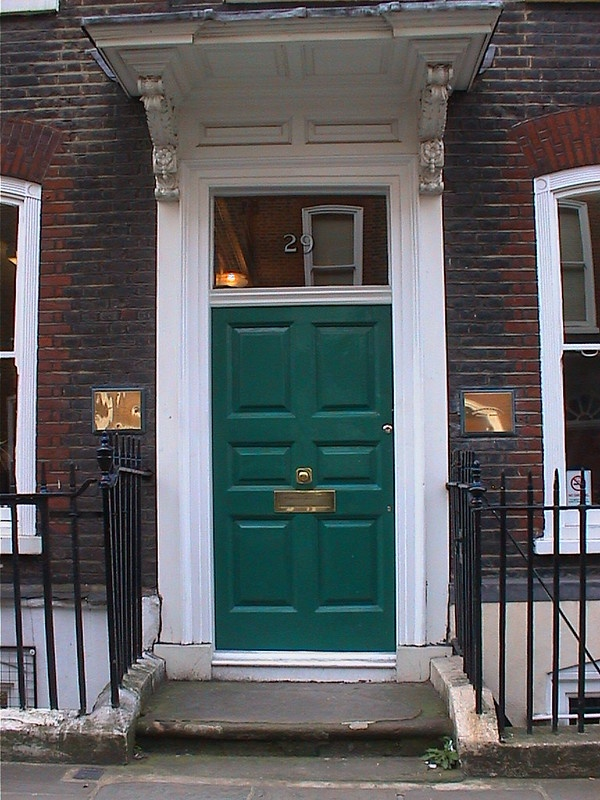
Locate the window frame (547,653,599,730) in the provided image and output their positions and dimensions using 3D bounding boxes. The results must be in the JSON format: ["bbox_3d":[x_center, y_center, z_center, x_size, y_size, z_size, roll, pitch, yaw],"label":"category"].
[{"bbox_3d":[1.483,1.615,6.442,0.295,0.371,0.638,-4,-4,18],"label":"window frame"}]
